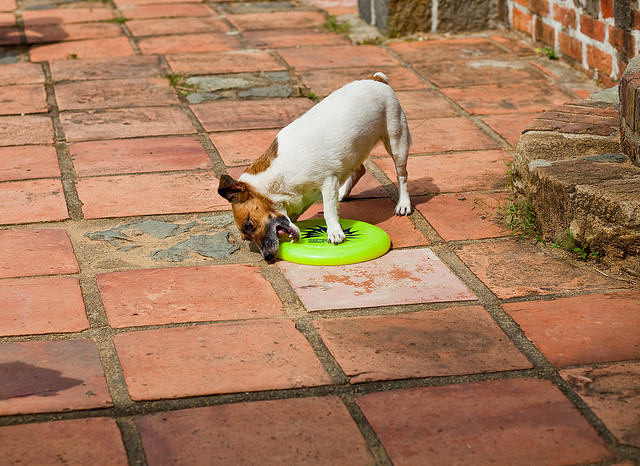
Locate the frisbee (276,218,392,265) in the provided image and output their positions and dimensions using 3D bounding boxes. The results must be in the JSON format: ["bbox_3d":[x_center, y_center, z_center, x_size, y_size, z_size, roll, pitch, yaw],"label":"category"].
[{"bbox_3d":[0.099,0.036,3.324,0.695,0.092,0.525,3,29,6],"label":"frisbee"}]

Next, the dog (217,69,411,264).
[{"bbox_3d":[0.007,-0.451,3.519,0.664,0.835,1.793,14,37,40],"label":"dog"}]
